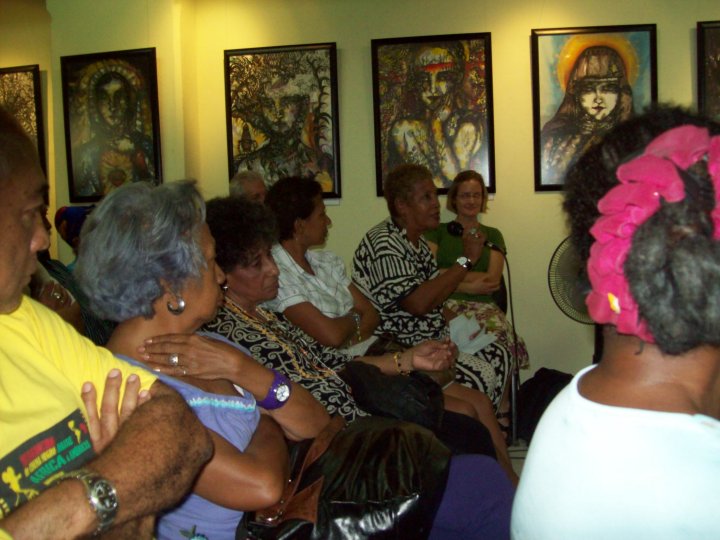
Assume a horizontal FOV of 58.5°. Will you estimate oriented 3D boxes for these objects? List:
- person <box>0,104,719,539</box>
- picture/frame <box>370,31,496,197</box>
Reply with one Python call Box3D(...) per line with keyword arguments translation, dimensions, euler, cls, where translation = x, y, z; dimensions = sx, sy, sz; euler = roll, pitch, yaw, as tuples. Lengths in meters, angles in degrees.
Box3D(translation=(-0.020, 0.075, 1.667), dimensions=(1.454, 0.914, 0.773), euler=(0, 4, -4), cls="person")
Box3D(translation=(0.550, -1.213, 4.784), dimensions=(0.876, 1.252, 0.028), euler=(-2, -18, 6), cls="picture/frame")
